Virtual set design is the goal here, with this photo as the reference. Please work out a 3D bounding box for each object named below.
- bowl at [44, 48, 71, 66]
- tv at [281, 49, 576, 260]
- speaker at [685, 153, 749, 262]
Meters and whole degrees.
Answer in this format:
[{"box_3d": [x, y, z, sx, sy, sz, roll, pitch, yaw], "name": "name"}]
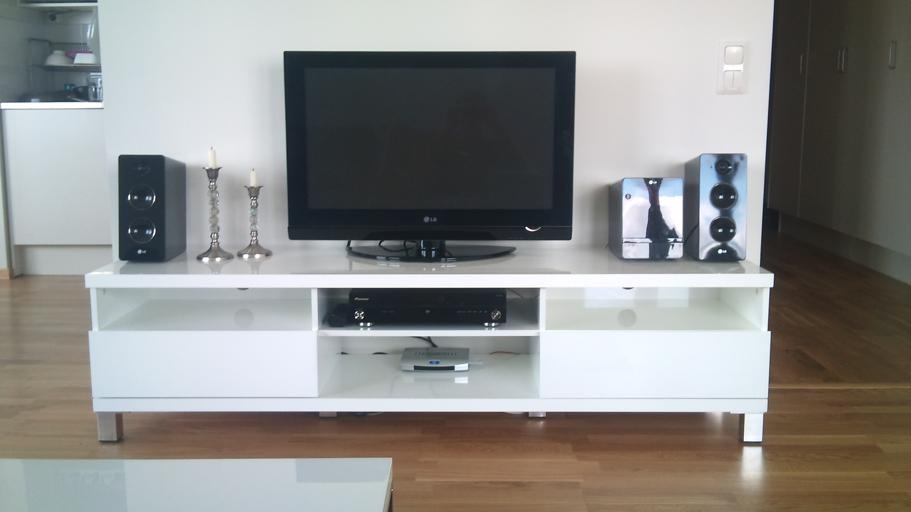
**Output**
[{"box_3d": [-3.414, -1.681, 6.144, 0.174, 0.078, 0.162, 3, 11, -1], "name": "bowl"}, {"box_3d": [-0.139, -0.581, 3.870, 1.287, 0.789, 0.321, 0, 6, 1], "name": "tv"}, {"box_3d": [1.385, -0.261, 3.858, 0.325, 0.576, 0.239, 1, 7, 20], "name": "speaker"}]
